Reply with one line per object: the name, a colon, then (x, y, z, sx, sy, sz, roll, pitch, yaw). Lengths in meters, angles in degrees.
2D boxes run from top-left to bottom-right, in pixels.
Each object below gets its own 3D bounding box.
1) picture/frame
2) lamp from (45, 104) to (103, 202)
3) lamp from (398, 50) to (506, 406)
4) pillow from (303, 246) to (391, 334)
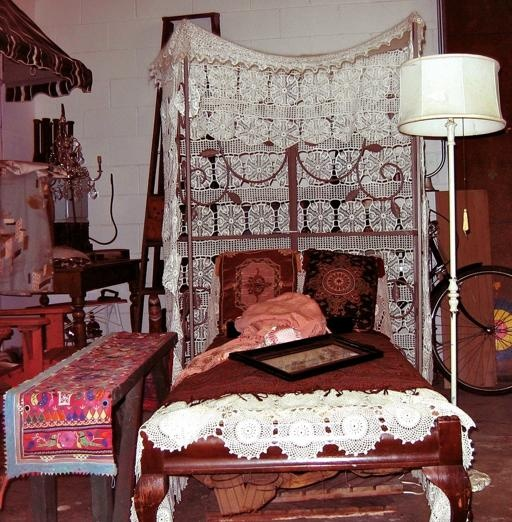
picture/frame: (0.252, 0.457, 2.841, 0.611, 0.110, 0.489, -1, 2, -35)
lamp: (-1.436, -0.820, 4.419, 0.461, 0.684, 0.435, -8, 11, -29)
lamp: (0.956, -0.091, 2.840, 0.503, 1.704, 0.537, 0, 2, 13)
pillow: (0.567, 0.174, 3.706, 0.507, 0.477, 0.342, 0, 2, 10)
